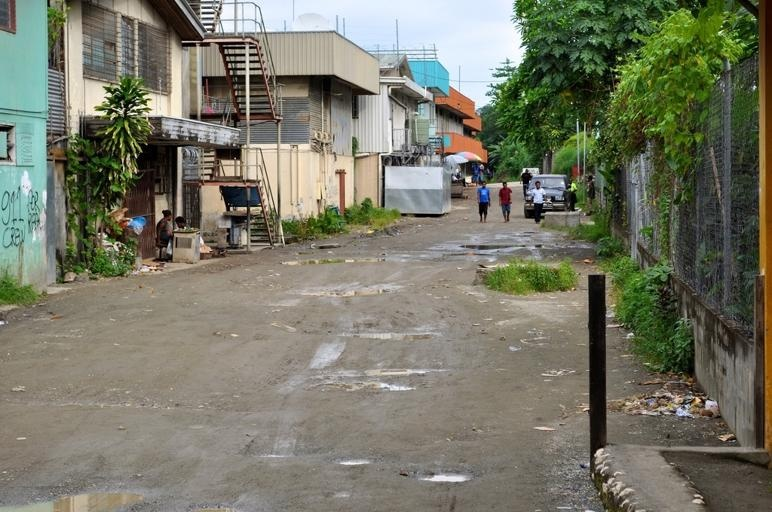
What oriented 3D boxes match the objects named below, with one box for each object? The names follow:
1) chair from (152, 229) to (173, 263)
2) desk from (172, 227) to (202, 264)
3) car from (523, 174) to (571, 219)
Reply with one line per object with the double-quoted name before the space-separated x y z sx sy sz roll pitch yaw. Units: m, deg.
"chair" -6.835 -0.476 22.979 0.437 1.172 0.911 -3 7 -23
"desk" -6.183 -0.237 22.911 0.717 0.976 0.964 3 -7 -9
"car" 9.444 -3.725 43.084 1.827 1.924 3.910 -1 -1 11
